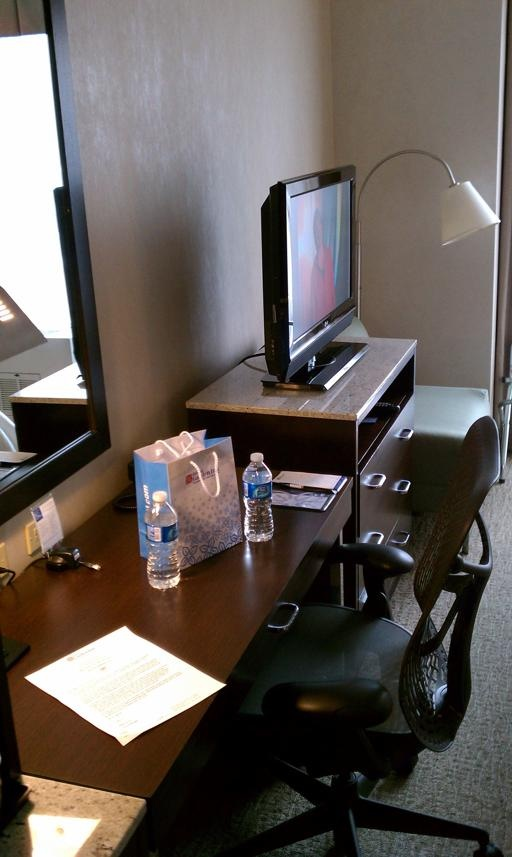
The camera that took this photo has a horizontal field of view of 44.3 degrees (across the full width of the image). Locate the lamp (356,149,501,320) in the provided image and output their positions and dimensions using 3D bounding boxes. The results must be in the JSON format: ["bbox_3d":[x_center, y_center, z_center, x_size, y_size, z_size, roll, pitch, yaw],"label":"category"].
[{"bbox_3d":[0.949,-1.069,3.373,0.709,1.284,0.305,12,30,26],"label":"lamp"}]

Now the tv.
[{"bbox_3d":[0.191,-0.493,2.092,0.207,0.743,0.801,3,27,15],"label":"tv"}]

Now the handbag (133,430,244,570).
[{"bbox_3d":[-0.136,0.157,1.274,0.092,0.243,0.190,5,19,29],"label":"handbag"}]
